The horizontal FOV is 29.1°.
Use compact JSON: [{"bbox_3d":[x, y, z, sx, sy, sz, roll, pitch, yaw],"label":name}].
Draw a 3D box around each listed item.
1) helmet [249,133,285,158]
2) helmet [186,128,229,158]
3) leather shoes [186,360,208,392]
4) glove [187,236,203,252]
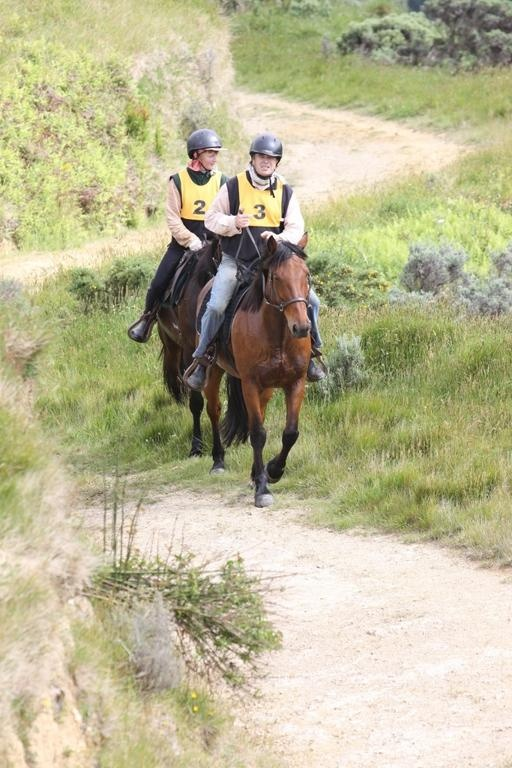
[{"bbox_3d":[0.087,-2.011,8.210,0.211,0.190,0.264,7,25,-4],"label":"helmet"},{"bbox_3d":[-0.493,-2.397,9.692,0.323,0.228,0.262,-11,12,3],"label":"helmet"},{"bbox_3d":[-0.545,-0.087,9.035,0.194,0.264,0.083,7,-1,3],"label":"leather shoes"},{"bbox_3d":[-0.626,-1.453,10.130,0.144,0.173,0.167,-3,-26,-10],"label":"glove"}]
